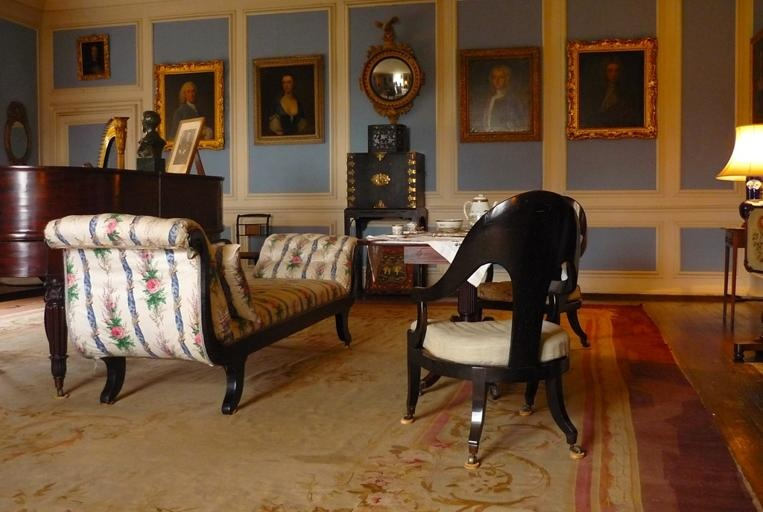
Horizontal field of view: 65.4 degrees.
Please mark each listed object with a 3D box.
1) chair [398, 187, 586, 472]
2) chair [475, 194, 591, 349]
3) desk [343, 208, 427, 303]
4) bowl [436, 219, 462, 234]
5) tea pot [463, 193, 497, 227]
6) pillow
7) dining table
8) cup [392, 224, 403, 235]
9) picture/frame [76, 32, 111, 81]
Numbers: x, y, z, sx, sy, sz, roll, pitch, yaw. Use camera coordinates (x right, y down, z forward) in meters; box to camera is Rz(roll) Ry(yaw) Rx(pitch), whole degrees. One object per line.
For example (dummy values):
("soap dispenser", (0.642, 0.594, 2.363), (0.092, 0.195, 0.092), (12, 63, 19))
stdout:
("chair", (0.585, 0.345, 3.252), (0.931, 1.274, 0.984), (0, 3, 2))
("chair", (1.095, 0.174, 4.317), (0.947, 1.201, 0.917), (-6, 0, 9))
("desk", (0.075, -0.039, 7.004), (0.890, 0.954, 0.538), (0, 0, 11))
("bowl", (0.495, -0.215, 4.261), (0.167, 0.065, 0.151), (0, 0, -34))
("tea pot", (0.714, -0.325, 4.240), (0.258, 0.235, 0.177), (1, 7, 23))
("pillow", (-0.828, 0.150, 3.398), (0.112, 0.365, 0.373), (-18, 5, 15))
("dining table", (0.188, 0.361, 4.444), (1.120, 1.046, 1.062), (-1, 2, 12))
("cup", (0.137, -0.185, 4.281), (0.108, 0.097, 0.105), (0, 3, 0))
("picture/frame", (-3.805, -2.689, 7.902), (0.643, 0.802, 0.087), (4, 9, 15))
